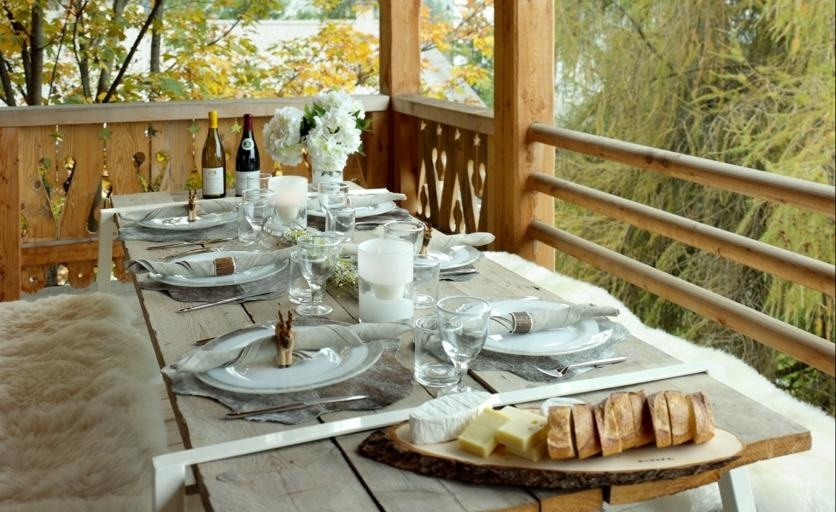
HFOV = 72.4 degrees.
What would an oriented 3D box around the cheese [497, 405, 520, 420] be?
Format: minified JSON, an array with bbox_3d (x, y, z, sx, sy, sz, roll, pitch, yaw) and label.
[{"bbox_3d":[0.183,0.310,1.136,0.022,0.006,0.023,-12,21,-27],"label":"cheese"}]

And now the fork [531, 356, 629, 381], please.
[{"bbox_3d":[0.386,0.272,1.370,0.219,0.030,0.031,-3,16,-18],"label":"fork"}]

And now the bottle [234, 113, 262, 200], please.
[{"bbox_3d":[-0.763,-0.437,2.545,0.123,0.399,0.120,6,22,-2],"label":"bottle"}]

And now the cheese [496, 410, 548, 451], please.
[{"bbox_3d":[0.206,0.340,1.114,0.094,0.024,0.108,1,9,32],"label":"cheese"}]

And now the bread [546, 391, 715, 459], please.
[{"bbox_3d":[0.405,0.323,1.091,0.333,0.109,0.055,-2,19,-10],"label":"bread"}]
